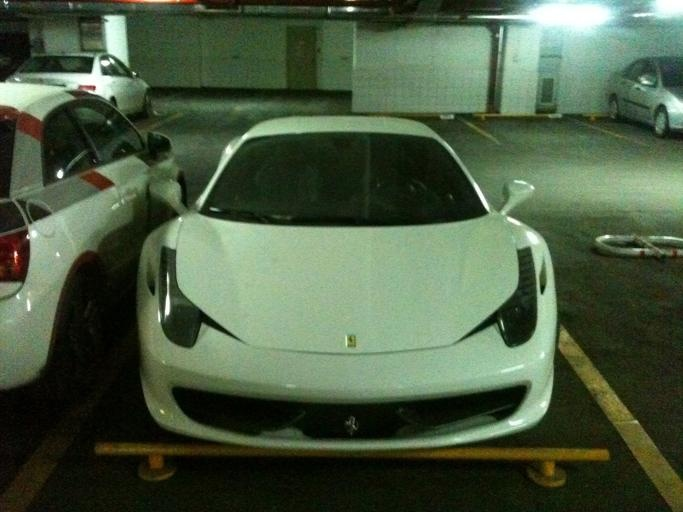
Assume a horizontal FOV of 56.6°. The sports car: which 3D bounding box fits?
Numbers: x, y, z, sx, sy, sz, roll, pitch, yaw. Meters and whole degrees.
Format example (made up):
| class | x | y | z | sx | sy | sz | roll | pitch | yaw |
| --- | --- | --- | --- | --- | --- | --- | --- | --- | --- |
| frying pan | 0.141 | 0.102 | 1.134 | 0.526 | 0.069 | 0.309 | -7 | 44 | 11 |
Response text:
| class | x | y | z | sx | sy | sz | roll | pitch | yaw |
| --- | --- | --- | --- | --- | --- | --- | --- | --- | --- |
| sports car | -0.016 | -0.512 | 5.091 | 2.599 | 1.354 | 4.609 | -1 | 26 | -3 |
